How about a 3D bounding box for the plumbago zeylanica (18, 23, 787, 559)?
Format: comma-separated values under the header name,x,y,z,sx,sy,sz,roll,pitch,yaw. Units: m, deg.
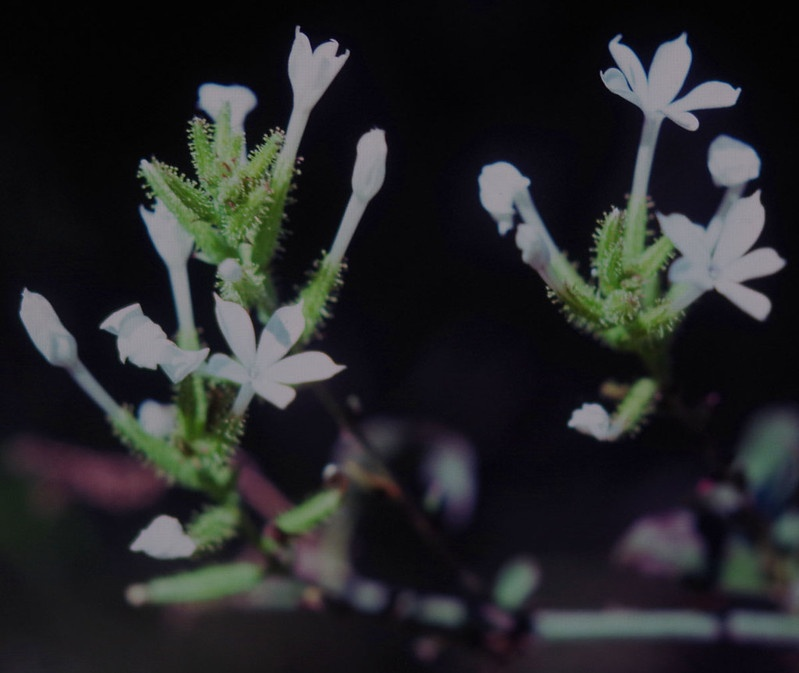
name,x,y,z,sx,sy,sz,roll,pitch,yaw
plumbago zeylanica,0.016,-0.040,1.281,0.866,0.607,0.496,-11,-10,1
